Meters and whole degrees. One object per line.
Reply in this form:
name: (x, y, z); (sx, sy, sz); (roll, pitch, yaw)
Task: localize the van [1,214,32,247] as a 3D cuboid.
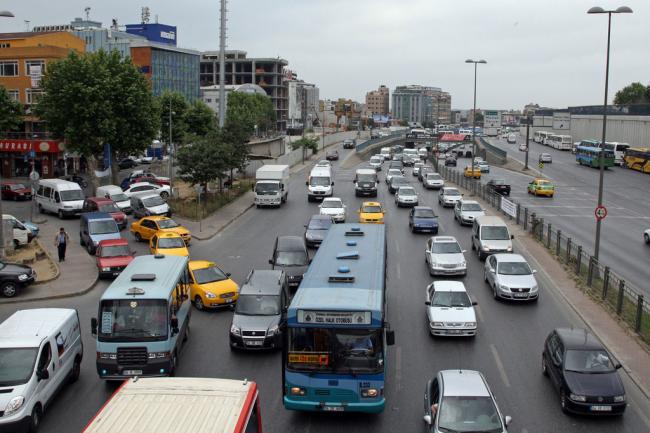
van: (-21.632, 1.108, 39.177); (2.421, 1.592, 1.586); (-2, 14, -14)

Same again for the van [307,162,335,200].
van: (-0.338, -3.576, 56.977); (1.747, 2.225, 4.316); (0, 10, 5)

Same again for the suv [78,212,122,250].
suv: (-16.111, 1.179, 39.288); (2.242, 2.490, 4.361); (-5, 13, -38)

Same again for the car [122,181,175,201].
car: (-17.930, -2.453, 56.375); (4.113, 1.566, 2.088); (-8, 27, -24)

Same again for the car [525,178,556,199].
car: (25.212, -3.278, 64.540); (1.526, 1.736, 3.047); (-4, 14, -20)

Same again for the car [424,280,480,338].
car: (5.910, 4.476, 26.058); (2.134, 1.687, 2.198); (1, 13, 4)

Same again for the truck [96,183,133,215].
truck: (-19.283, -1.490, 50.554); (4.129, 2.410, 2.283); (12, 17, 36)

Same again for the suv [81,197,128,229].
suv: (-18.065, -0.246, 44.857); (4.242, 2.416, 2.187); (10, 12, 36)

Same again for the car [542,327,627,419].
car: (10.195, 6.156, 22.039); (2.215, 2.213, 4.846); (0, 7, 9)

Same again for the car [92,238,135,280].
car: (-13.126, 2.634, 34.422); (2.126, 2.118, 4.074); (-3, 10, -30)

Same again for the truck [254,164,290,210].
truck: (-5.233, -2.931, 54.074); (2.438, 3.829, 3.750); (3, 13, 12)

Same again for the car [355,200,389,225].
car: (3.682, -0.242, 43.187); (1.627, 1.496, 3.721); (-1, 4, 3)

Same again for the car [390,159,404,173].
car: (9.636, -6.823, 74.006); (1.597, 1.583, 3.780); (-1, 6, 5)

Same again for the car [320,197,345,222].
car: (0.589, -0.499, 44.358); (1.684, 1.670, 3.988); (0, 4, 2)

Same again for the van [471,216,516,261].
van: (11.468, 1.464, 37.768); (2.323, 2.523, 4.652); (2, 11, 7)

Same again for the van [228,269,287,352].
van: (-2.952, 4.378, 26.382); (2.548, 2.572, 6.152); (0, 10, -3)

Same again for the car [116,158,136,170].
car: (-29.933, -7.971, 83.438); (1.022, 1.387, 3.932); (3, 14, 13)

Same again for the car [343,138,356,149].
car: (5.347, -15.920, 120.066); (1.503, 1.535, 2.984); (0, 4, 8)

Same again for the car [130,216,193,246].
car: (-12.293, 0.791, 40.630); (4.068, 1.816, 2.130); (6, 9, 34)

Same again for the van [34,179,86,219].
van: (-23.991, -1.714, 50.249); (5.375, 3.329, 2.533); (10, 10, 33)

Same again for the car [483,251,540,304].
car: (10.232, 3.429, 30.106); (2.121, 2.003, 2.429); (0, 13, -1)

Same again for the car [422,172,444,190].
car: (12.509, -4.045, 63.812); (1.813, 1.579, 3.366); (1, 14, 3)

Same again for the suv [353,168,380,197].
suv: (4.458, -3.581, 59.353); (2.909, 3.243, 6.209); (-1, 6, 3)

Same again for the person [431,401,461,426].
person: (4.054, 6.546, 18.351); (0.949, 0.603, 0.549); (2, 13, 8)

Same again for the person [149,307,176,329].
person: (-6.387, 4.024, 21.621); (0.627, 0.499, 1.104); (1, 8, -7)

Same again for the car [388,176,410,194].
car: (7.718, -3.293, 57.952); (1.846, 1.737, 4.131); (0, 5, 3)

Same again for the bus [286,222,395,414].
bus: (1.018, 3.771, 25.355); (3.840, 4.471, 14.018); (0, 11, 6)

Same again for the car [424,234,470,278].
car: (7.363, 2.564, 33.471); (2.047, 1.841, 2.606); (1, 13, 2)

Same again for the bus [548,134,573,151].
bus: (53.108, -16.944, 123.753); (2.172, 2.493, 6.736); (3, 16, 9)

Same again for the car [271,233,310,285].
car: (-2.077, 2.790, 32.750); (2.247, 2.417, 5.197); (1, 9, -7)

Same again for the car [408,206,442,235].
car: (7.697, 0.395, 42.655); (1.886, 1.815, 2.072); (0, 13, -2)

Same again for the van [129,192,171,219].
van: (-15.033, -1.003, 47.577); (1.919, 1.775, 3.288); (-8, 12, -43)

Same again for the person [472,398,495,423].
person: (5.237, 6.551, 18.378); (0.489, 0.417, 0.885); (2, 26, 4)

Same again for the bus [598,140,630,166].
bus: (48.447, -10.554, 91.451); (2.692, 2.547, 4.893); (0, 13, 9)

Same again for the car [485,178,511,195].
car: (20.009, -3.134, 63.070); (2.194, 1.487, 3.151); (-2, 14, -8)

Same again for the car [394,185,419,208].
car: (7.766, -1.907, 53.031); (1.961, 1.777, 4.236); (-1, 5, 3)

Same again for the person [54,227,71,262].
person: (-17.281, 1.862, 36.133); (0.636, 2.163, 1.308); (-6, 14, -28)

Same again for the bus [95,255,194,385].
bus: (-7.837, 4.269, 24.632); (2.968, 3.848, 7.393); (0, 9, -8)

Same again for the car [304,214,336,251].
car: (-0.323, 1.057, 35.117); (1.622, 1.530, 3.857); (-1, 9, 1)
